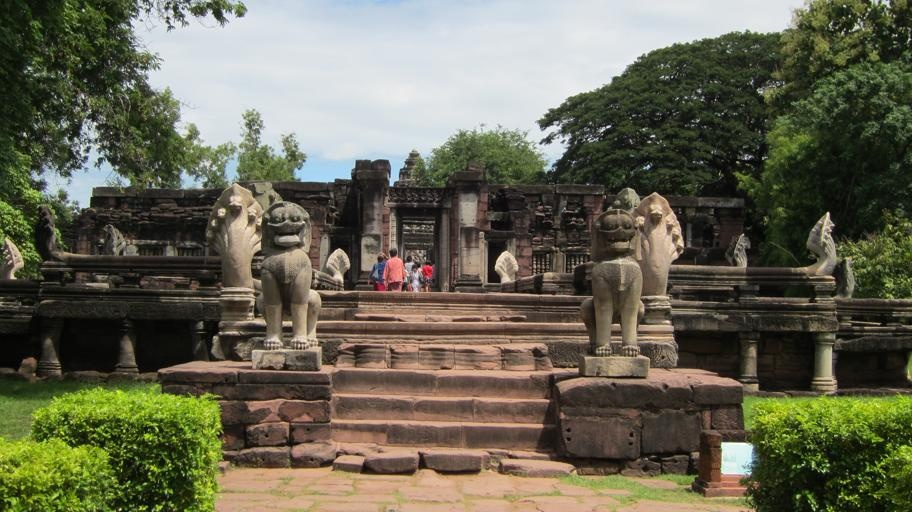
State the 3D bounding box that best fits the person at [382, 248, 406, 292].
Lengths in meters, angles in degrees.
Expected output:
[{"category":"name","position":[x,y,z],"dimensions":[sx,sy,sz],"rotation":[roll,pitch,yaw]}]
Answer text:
[{"category":"person","position":[-1.936,0.409,38.177],"dimensions":[0.572,1.303,1.524],"rotation":[1,-3,-4]}]
